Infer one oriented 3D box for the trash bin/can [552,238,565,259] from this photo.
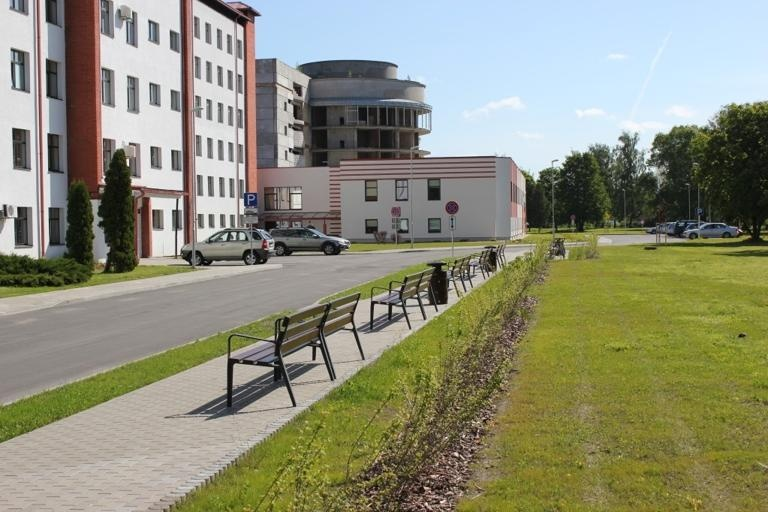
[{"bbox_3d":[9.432,-0.384,38.759,0.739,1.007,1.599,3,8,32],"label":"trash bin/can"}]
